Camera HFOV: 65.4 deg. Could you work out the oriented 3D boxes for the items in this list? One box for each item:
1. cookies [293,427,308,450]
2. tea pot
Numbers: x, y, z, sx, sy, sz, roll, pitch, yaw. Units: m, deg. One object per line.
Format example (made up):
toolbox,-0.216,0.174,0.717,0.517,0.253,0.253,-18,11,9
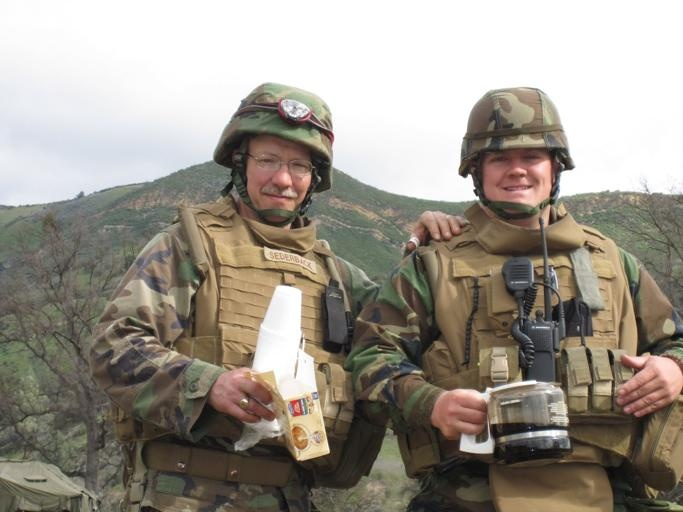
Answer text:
cookies,-0.252,1.106,3.230,0.105,0.139,0.027,6,-10,-34
tea pot,1.056,1.012,3.253,0.703,0.394,0.460,-2,-14,-9
